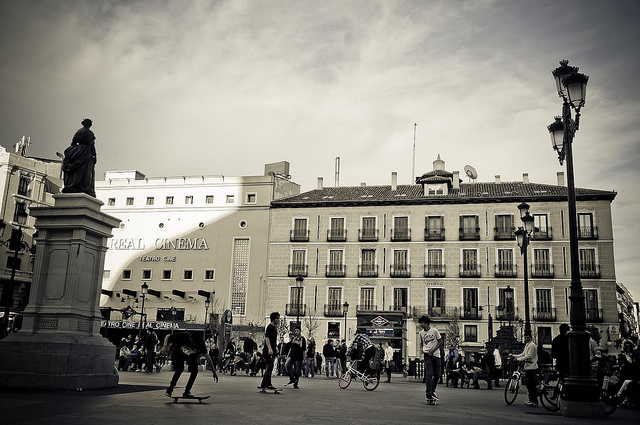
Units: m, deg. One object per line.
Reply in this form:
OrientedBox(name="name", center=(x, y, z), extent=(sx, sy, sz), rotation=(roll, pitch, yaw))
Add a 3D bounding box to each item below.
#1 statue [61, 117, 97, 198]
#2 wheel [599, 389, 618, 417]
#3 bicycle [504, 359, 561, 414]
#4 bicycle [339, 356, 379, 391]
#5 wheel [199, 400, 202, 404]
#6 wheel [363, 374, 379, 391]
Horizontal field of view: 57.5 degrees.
OrientedBox(name="statue", center=(-8.595, -1.961, 20.972), extent=(1.208, 2.856, 0.812), rotation=(10, -19, -25))
OrientedBox(name="wheel", center=(9.134, 6.027, 18.455), extent=(0.473, 0.762, 1.638), rotation=(-6, -18, 25))
OrientedBox(name="bicycle", center=(7.322, 6.035, 19.788), extent=(1.235, 1.278, 2.010), rotation=(13, -6, -43))
OrientedBox(name="bicycle", center=(1.608, 6.920, 24.759), extent=(1.859, 1.234, 0.859), rotation=(-5, -28, 26))
OrientedBox(name="wheel", center=(-3.557, 5.615, 17.190), extent=(0.092, 0.067, 0.131), rotation=(9, 3, -34))
OrientedBox(name="wheel", center=(2.101, 7.167, 24.503), extent=(0.659, 0.630, 0.462), rotation=(3, -17, -5))
